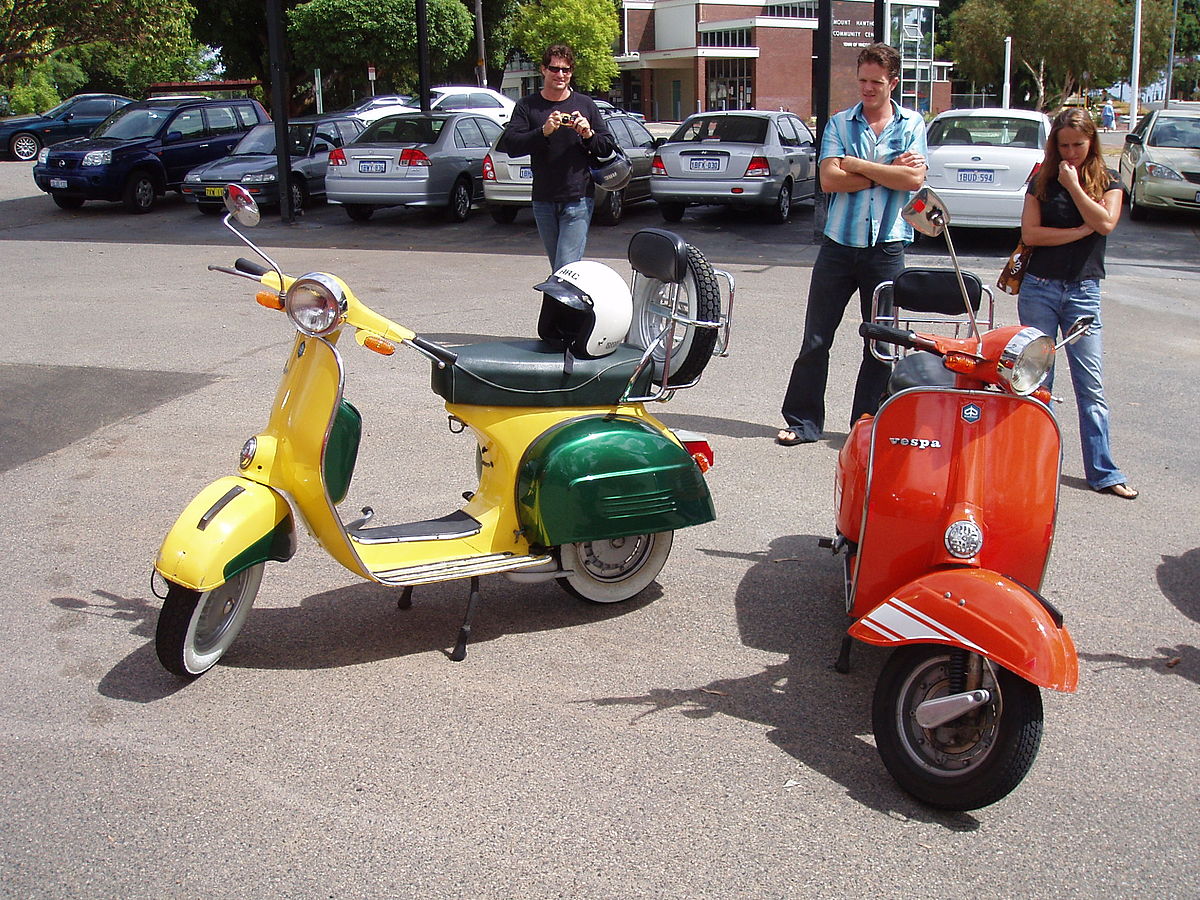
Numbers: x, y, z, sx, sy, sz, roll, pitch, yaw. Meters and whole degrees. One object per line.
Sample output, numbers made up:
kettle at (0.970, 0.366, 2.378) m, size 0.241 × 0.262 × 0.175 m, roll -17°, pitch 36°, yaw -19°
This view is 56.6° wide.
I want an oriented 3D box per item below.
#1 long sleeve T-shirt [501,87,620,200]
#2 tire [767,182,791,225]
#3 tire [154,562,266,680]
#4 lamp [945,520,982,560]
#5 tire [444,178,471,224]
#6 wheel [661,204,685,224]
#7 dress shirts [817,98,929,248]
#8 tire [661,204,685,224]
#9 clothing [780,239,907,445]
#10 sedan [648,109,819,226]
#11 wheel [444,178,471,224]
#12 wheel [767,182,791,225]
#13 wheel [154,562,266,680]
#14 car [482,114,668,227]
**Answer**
long sleeve T-shirt at (-0.322, -2.330, 8.448) m, size 0.881 × 0.816 × 0.475 m, roll -4°, pitch 13°, yaw -9°
tire at (2.635, -3.696, 16.574) m, size 0.227 × 0.619 × 0.618 m, roll 0°, pitch 5°, yaw 24°
tire at (-1.642, 0.688, 4.705) m, size 0.160 × 0.452 × 0.492 m, roll 8°, pitch 24°, yaw 22°
lamp at (1.372, 0.337, 4.223) m, size 0.128 × 0.121 × 0.095 m, roll -1°, pitch 22°, yaw -1°
tire at (-2.215, -3.853, 17.149) m, size 0.233 × 0.714 × 0.713 m, roll 1°, pitch 4°, yaw 16°
wheel at (1.110, -3.690, 17.288) m, size 0.364 × 0.368 × 0.354 m, roll 3°, pitch 1°, yaw 0°
dress shirts at (1.708, -1.740, 6.995) m, size 0.648 × 0.835 × 0.426 m, roll 2°, pitch 23°, yaw 11°
tire at (1.122, -3.697, 17.296) m, size 0.364 × 0.368 × 0.354 m, roll 3°, pitch 1°, yaw -1°
clothing at (1.613, -0.795, 7.385) m, size 0.643 × 1.818 × 0.461 m, roll 9°, pitch 33°, yaw 11°
sedan at (2.192, -4.286, 16.851) m, size 1.483 × 1.162 × 2.716 m, roll 6°, pitch 27°, yaw 23°
wheel at (-2.215, -3.853, 17.149) m, size 0.233 × 0.714 × 0.713 m, roll 1°, pitch 4°, yaw 16°
wheel at (2.635, -3.696, 16.574) m, size 0.227 × 0.619 × 0.618 m, roll 0°, pitch 5°, yaw 24°
wheel at (-1.642, 0.688, 4.705) m, size 0.160 × 0.452 × 0.492 m, roll 8°, pitch 24°, yaw 22°
car at (-0.175, -4.400, 17.644) m, size 1.711 × 1.574 × 3.760 m, roll 7°, pitch 22°, yaw 24°
